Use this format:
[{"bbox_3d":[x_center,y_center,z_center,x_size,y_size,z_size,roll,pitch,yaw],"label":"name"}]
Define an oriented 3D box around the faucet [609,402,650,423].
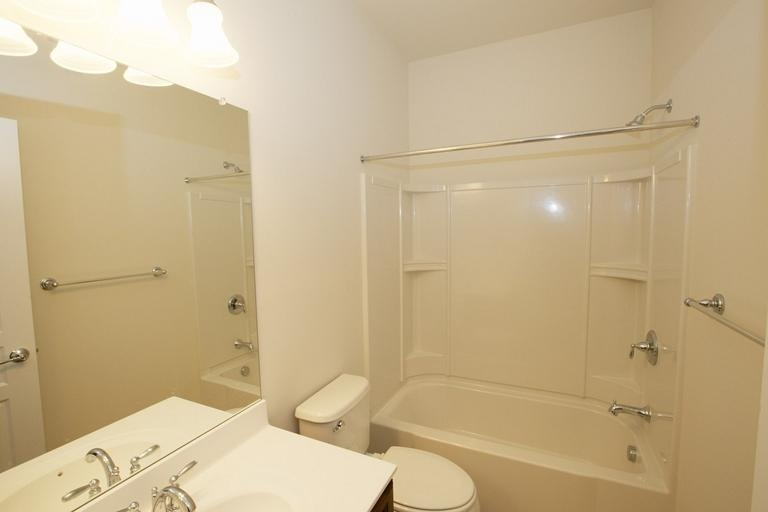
[{"bbox_3d":[1.423,0.897,3.109,0.201,0.106,0.100,-1,3,35],"label":"faucet"}]
